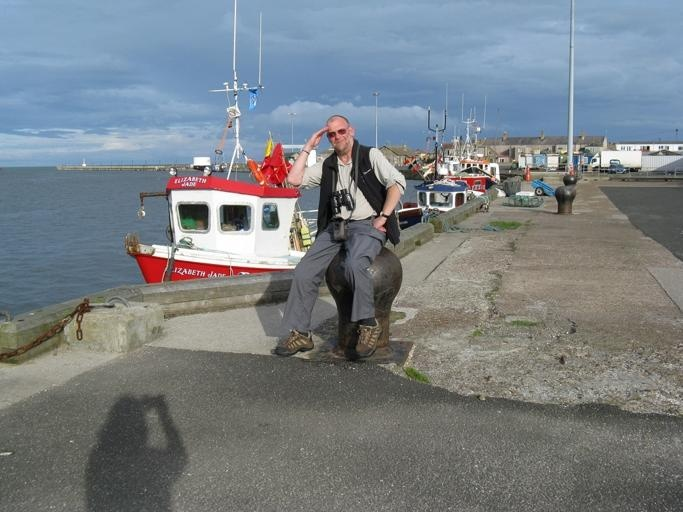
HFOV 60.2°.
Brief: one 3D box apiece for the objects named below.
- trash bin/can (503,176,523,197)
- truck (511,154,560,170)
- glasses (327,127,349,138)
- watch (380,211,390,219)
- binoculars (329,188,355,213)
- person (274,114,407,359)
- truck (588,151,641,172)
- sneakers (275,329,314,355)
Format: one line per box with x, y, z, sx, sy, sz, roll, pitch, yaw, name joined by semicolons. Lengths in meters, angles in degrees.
11.396;-4.564;38.439;0.870;1.288;3.770;3;12;24;trash bin/can
35.075;-16.278;102.848;5.444;2.719;11.702;2;14;6;truck
-0.007;-1.204;5.770;0.261;0.128;0.117;-3;13;-14;glasses
0.427;-0.392;5.711;0.074;0.049;0.077;18;8;-7;watch
0.012;-0.545;5.793;0.209;0.225;0.085;-2;4;17;binoculars
-0.011;-0.205;5.849;1.252;2.301;1.179;1;13;4;person
42.291;-14.400;89.627;7.001;2.903;5.972;4;14;15;truck
-0.431;0.841;5.771;0.457;0.250;0.167;-2;2;-33;sneakers
